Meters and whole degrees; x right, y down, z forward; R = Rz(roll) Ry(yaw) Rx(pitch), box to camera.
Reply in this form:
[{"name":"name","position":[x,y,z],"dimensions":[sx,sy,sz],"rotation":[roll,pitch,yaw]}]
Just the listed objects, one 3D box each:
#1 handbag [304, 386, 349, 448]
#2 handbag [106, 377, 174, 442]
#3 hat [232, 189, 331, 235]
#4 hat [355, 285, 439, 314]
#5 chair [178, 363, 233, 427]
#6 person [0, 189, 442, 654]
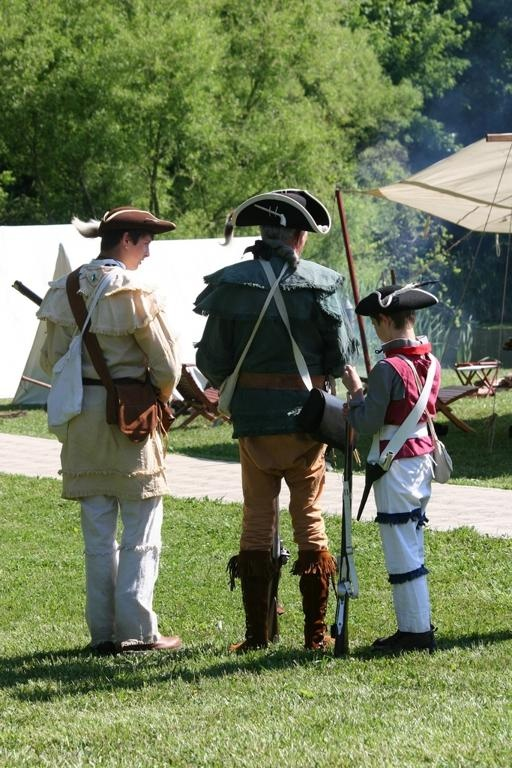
[{"name":"handbag","position":[0.304,0.153,6.076],"dimensions":[0.117,0.208,0.229],"rotation":[-4,-19,43]},{"name":"handbag","position":[-0.550,0.119,6.408],"dimensions":[0.231,0.285,0.123],"rotation":[-5,-5,-30]},{"name":"hat","position":[0.109,-0.756,6.294],"dimensions":[0.337,0.137,0.258],"rotation":[2,-1,18]},{"name":"hat","position":[0.613,-0.364,6.170],"dimensions":[0.354,0.155,0.280],"rotation":[0,1,5]},{"name":"chair","position":[-0.535,0.127,14.439],"dimensions":[0.533,0.520,0.374],"rotation":[1,2,-13]},{"name":"person","position":[0.132,0.161,6.314],"dimensions":[1.417,2.062,0.430],"rotation":[0,1,26]}]
